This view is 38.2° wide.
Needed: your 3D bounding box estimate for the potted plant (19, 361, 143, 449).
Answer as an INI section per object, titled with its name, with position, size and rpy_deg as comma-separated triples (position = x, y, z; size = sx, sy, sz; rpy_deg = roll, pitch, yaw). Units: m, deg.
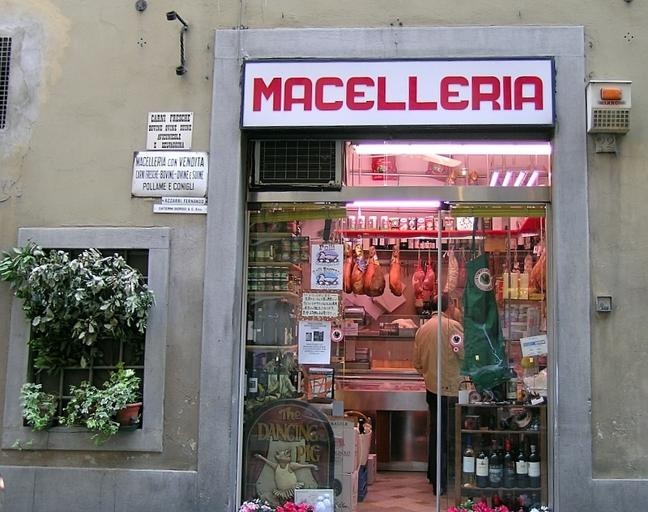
[potted plant]
position = -2.265, 1.391, 8.727
size = 0.916, 0.700, 0.775
rpy_deg = 1, -12, -1
